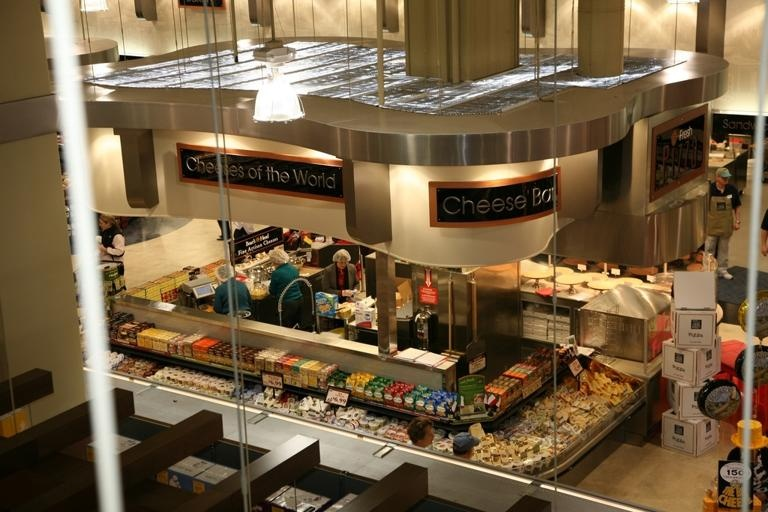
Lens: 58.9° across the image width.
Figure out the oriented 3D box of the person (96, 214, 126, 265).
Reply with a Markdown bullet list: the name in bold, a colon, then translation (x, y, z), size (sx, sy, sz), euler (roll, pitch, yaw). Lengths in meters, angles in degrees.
- **person**: translation (-3.860, -0.263, 9.558), size (0.327, 0.646, 0.709), euler (-11, 17, -22)

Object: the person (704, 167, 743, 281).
- **person**: translation (4.528, -0.380, 9.085), size (0.391, 1.631, 0.752), euler (3, 18, 25)

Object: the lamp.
- **lamp**: translation (-0.788, -1.358, 4.881), size (0.360, 0.867, 1.495), euler (-7, 16, -9)

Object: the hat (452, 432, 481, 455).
- **hat**: translation (0.675, 1.504, 5.539), size (0.144, 0.110, 0.220), euler (17, 39, 36)

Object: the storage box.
- **storage box**: translation (2.850, 1.200, 6.293), size (0.503, 1.309, 0.458), euler (3, 18, 26)

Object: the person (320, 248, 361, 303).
- **person**: translation (-0.514, 0.253, 8.254), size (0.460, 0.868, 0.507), euler (-7, 18, -13)
